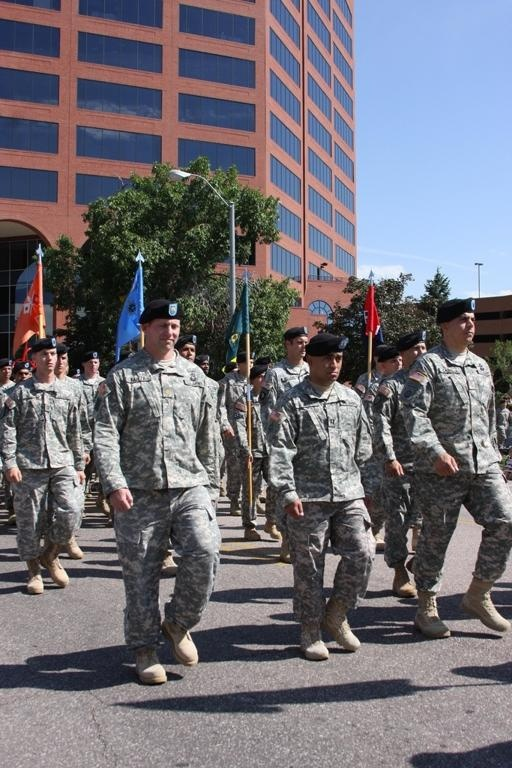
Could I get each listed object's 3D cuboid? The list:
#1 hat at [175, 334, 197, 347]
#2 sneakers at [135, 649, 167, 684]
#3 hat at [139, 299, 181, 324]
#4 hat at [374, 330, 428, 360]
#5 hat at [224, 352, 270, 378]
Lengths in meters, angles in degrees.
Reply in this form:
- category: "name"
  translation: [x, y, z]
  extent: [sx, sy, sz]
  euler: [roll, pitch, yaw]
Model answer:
- category: "hat"
  translation: [-0.774, -0.482, 9.241]
  extent: [0.165, 0.071, 0.186]
  euler: [2, -7, -37]
- category: "sneakers"
  translation: [-0.560, 1.510, 4.627]
  extent: [0.162, 0.163, 0.197]
  euler: [0, -1, -7]
- category: "hat"
  translation: [-0.563, -0.415, 4.950]
  extent: [0.256, 0.135, 0.200]
  euler: [-1, -1, 8]
- category: "hat"
  translation: [1.357, -0.302, 7.376]
  extent: [0.352, 0.137, 0.299]
  euler: [-22, 3, -16]
- category: "hat"
  translation: [-0.141, -0.246, 11.222]
  extent: [0.518, 0.184, 0.377]
  euler: [-3, 0, 17]
